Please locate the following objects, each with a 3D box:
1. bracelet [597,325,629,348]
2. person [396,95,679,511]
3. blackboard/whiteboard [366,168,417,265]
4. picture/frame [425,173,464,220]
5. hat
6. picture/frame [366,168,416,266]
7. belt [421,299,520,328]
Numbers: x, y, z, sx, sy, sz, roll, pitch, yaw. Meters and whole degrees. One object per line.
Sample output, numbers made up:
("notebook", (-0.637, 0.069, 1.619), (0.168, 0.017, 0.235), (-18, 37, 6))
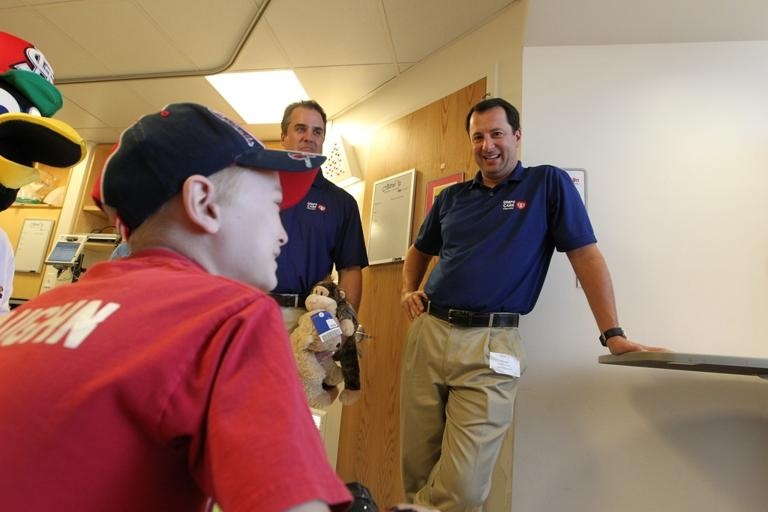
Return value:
("bracelet", (0.960, 0.325, 2.137), (0.078, 0.047, 0.093), (3, -36, -37))
("person", (0.541, 0.177, 2.431), (0.949, 1.936, 0.640), (-1, -5, 9))
("blackboard/whiteboard", (0.063, -0.253, 3.369), (0.069, 0.743, 0.533), (12, -16, -29))
("picture/frame", (0.345, -0.333, 2.831), (0.012, 0.322, 0.307), (28, -5, -25))
("hat", (-0.482, -0.257, 1.477), (0.496, 0.275, 0.324), (-26, 13, -16))
("picture/frame", (0.061, -0.249, 3.369), (0.071, 0.750, 0.535), (12, -16, -29))
("belt", (0.403, 0.274, 2.390), (0.428, 0.117, 0.163), (-2, -5, 12))
